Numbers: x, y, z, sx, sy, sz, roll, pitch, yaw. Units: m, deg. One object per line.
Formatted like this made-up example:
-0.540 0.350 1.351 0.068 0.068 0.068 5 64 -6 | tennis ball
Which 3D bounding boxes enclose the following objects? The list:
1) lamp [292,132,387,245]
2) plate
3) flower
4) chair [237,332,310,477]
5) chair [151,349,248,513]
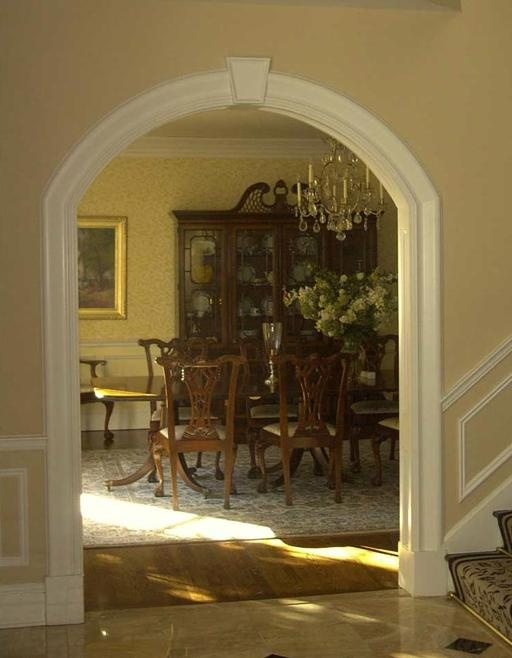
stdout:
0.648 -1.121 5.497 0.500 0.704 0.503 2 7 26 | lamp
-0.068 -0.411 6.340 1.269 0.997 0.378 -1 1 -10 | plate
0.678 -0.171 5.217 0.745 0.592 0.338 1 3 32 | flower
0.185 0.668 5.256 0.455 0.881 0.363 11 -5 -3 | chair
-0.359 0.664 4.610 0.787 0.964 0.747 -1 -2 24 | chair
